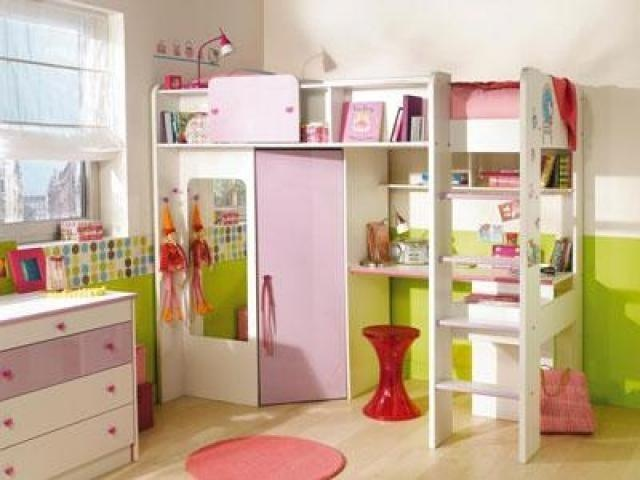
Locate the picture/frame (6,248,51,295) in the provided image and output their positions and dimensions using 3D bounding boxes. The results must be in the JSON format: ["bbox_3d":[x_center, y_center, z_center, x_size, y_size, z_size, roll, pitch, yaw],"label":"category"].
[{"bbox_3d":[-1.946,0.213,3.589,0.042,0.325,0.262,-12,-3,38],"label":"picture/frame"}]

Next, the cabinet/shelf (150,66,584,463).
[{"bbox_3d":[0.364,0.038,4.331,3.136,2.625,1.522,2,6,28],"label":"cabinet/shelf"}]

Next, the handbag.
[{"bbox_3d":[1.723,1.136,3.948,0.409,0.435,0.392,-2,-5,13],"label":"handbag"}]

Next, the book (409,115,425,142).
[{"bbox_3d":[0.666,-0.758,3.689,0.101,0.167,0.032,0,5,6],"label":"book"}]
